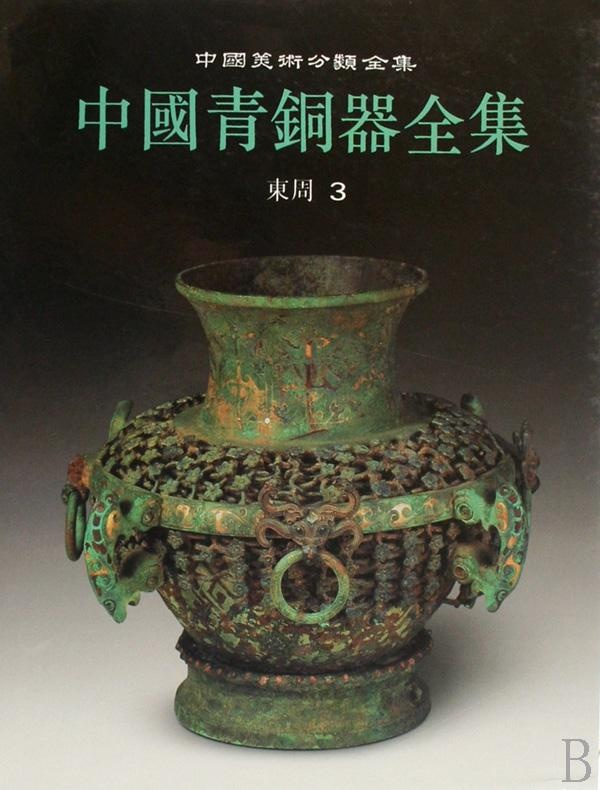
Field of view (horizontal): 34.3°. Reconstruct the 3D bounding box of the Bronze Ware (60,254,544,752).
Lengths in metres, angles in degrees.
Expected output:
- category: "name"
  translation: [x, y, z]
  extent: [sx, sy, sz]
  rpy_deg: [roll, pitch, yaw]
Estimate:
- category: "Bronze Ware"
  translation: [-0.004, 0.326, 2.822]
  extent: [1.233, 1.465, 0.865]
  rpy_deg: [3, 7, 26]
